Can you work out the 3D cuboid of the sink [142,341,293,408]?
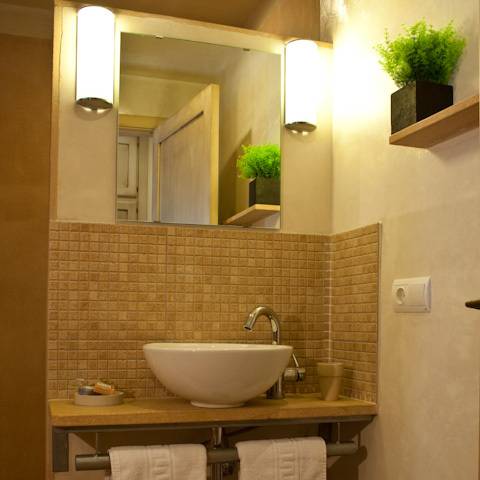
[{"bbox_3d":[-0.059,0.373,1.601,0.426,0.158,0.195,3,-6,-11],"label":"sink"}]

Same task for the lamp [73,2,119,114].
[{"bbox_3d":[-0.494,-0.616,1.957,0.123,0.352,0.076,3,-5,-30],"label":"lamp"}]

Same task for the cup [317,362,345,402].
[{"bbox_3d":[0.276,0.458,1.867,0.090,0.127,0.096,1,-8,0],"label":"cup"}]

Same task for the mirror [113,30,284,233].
[{"bbox_3d":[-0.176,-0.370,2.074,0.554,0.868,0.029,2,-3,-22],"label":"mirror"}]

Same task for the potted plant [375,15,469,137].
[{"bbox_3d":[0.499,-0.439,1.576,0.160,0.269,0.209,4,3,-18],"label":"potted plant"}]

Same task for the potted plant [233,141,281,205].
[{"bbox_3d":[0.084,-0.257,2.181,0.120,0.239,0.163,0,9,12],"label":"potted plant"}]
